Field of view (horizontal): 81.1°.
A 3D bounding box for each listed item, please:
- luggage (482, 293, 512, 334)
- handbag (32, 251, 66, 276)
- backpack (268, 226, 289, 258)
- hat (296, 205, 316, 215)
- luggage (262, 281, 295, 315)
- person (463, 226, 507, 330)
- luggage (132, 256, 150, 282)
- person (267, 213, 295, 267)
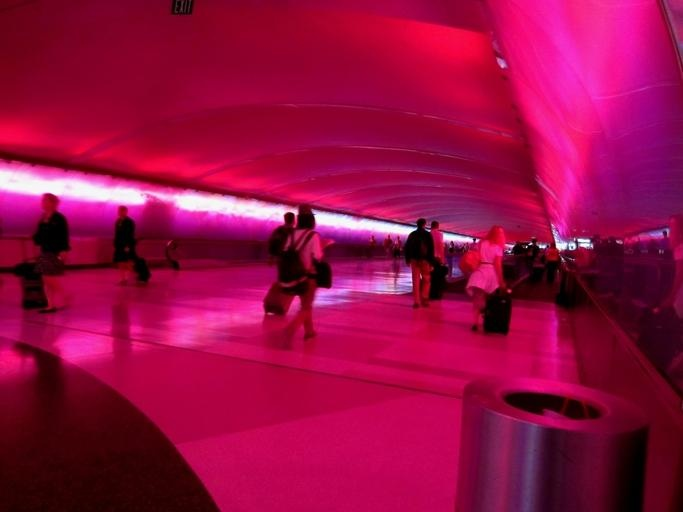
[{"bbox_3d":[3.116,1.073,7.918,0.496,0.917,0.466,6,21,27],"label":"luggage"},{"bbox_3d":[-5.896,0.159,8.114,0.397,0.481,0.619,-3,10,-39],"label":"handbag"},{"bbox_3d":[-1.057,-0.288,6.934,0.218,0.522,0.375,16,-16,25],"label":"backpack"},{"bbox_3d":[-0.617,-0.804,6.704,0.191,0.205,0.202,3,4,31],"label":"hat"},{"bbox_3d":[-1.611,1.129,10.119,0.691,0.495,0.994,13,4,5],"label":"luggage"},{"bbox_3d":[2.807,0.499,7.736,0.747,2.108,0.502,-4,10,10],"label":"person"},{"bbox_3d":[-6.956,0.400,13.979,0.590,0.928,0.243,2,27,7],"label":"luggage"},{"bbox_3d":[-0.893,-0.323,6.969,0.258,0.772,0.527,23,-14,-25],"label":"person"}]
